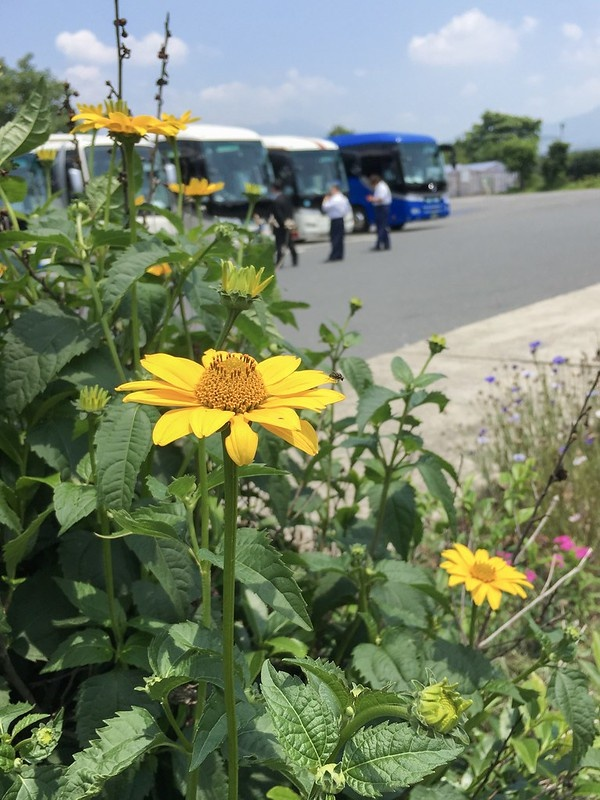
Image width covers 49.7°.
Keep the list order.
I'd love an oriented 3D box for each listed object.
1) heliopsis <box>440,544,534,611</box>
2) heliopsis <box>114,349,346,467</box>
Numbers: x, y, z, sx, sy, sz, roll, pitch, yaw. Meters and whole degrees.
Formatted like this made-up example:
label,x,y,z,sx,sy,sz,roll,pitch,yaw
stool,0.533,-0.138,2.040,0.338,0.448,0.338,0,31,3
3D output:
label,x,y,z,sx,sy,sz,roll,pitch,yaw
heliopsis,0.534,0.534,1.849,0.256,0.057,0.243,-11,33,-32
heliopsis,-0.108,-0.011,0.883,0.227,0.070,0.230,28,30,33
